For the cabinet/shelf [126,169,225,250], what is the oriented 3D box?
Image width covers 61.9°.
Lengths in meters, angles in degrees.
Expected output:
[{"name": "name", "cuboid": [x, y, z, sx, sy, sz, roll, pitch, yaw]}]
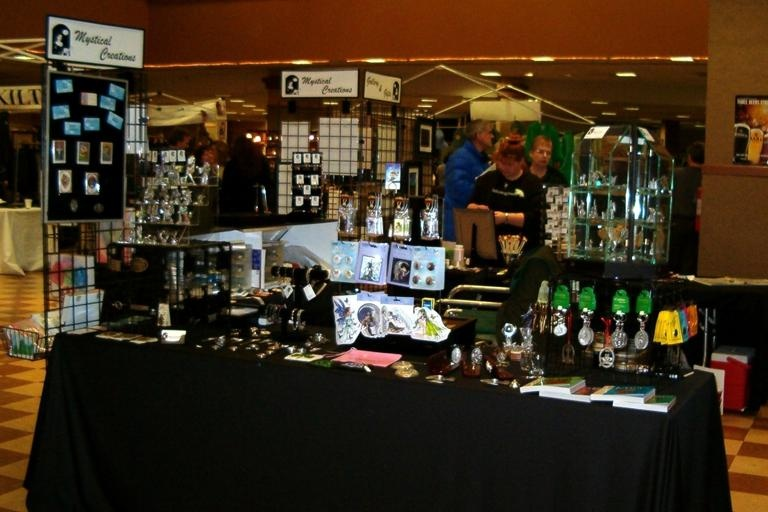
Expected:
[{"name": "cabinet/shelf", "cuboid": [-1.355, -0.332, 4.085, 0.506, 0.479, 0.175, -2, 13, -41]}]

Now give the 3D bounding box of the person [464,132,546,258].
[{"name": "person", "cuboid": [1.123, -0.608, 5.979, 0.671, 1.113, 0.832, 2, 4, 8]}]

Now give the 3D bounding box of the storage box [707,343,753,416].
[{"name": "storage box", "cuboid": [3.056, 1.123, 5.647, 0.287, 0.506, 0.540, 4, -2, 35]}]

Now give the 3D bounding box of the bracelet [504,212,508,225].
[{"name": "bracelet", "cuboid": [1.083, -0.342, 5.718, 0.037, 0.089, 0.127, 2, 5, 14]}]

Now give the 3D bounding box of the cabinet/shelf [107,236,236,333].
[{"name": "cabinet/shelf", "cuboid": [-1.282, 0.138, 4.000, 0.713, 0.525, 0.393, 3, 13, 5]}]

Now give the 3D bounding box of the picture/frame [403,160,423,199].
[{"name": "picture/frame", "cuboid": [0.288, -0.772, 6.706, 0.213, 0.388, 0.042, -3, 6, -29]}]

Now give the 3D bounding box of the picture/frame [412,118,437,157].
[{"name": "picture/frame", "cuboid": [0.395, -1.142, 6.220, 0.064, 0.445, 0.576, 6, 4, -24]}]
